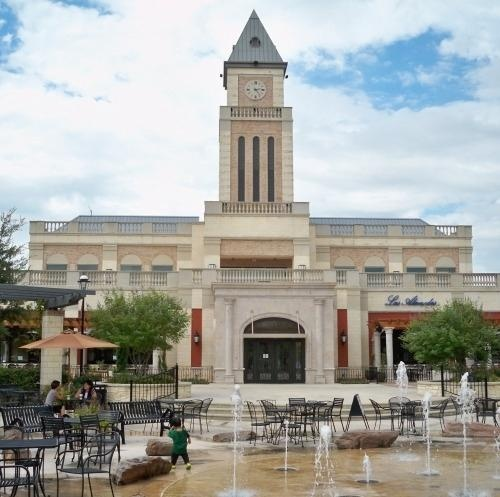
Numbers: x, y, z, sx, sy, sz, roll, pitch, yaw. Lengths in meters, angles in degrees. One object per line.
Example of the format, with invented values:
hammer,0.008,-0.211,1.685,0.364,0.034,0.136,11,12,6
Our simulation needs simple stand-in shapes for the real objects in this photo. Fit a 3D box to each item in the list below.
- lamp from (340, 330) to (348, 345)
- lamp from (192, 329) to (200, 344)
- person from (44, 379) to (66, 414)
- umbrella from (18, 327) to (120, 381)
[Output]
lamp,4.594,4.328,47.237,0.337,0.692,0.681,-3,-6,9
lamp,-2.514,4.159,45.896,0.409,0.774,0.604,-2,-6,-4
person,-5.335,4.168,26.671,0.605,1.049,0.407,-6,12,-34
umbrella,-5.347,3.399,29.385,1.981,1.234,1.954,1,-2,4
